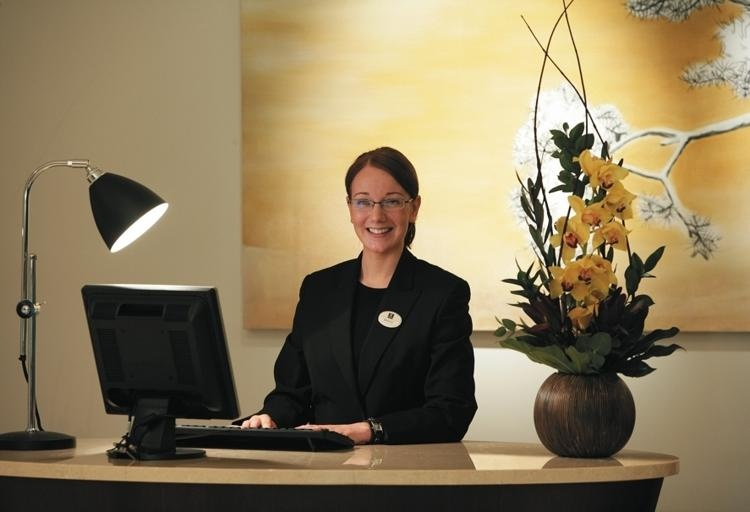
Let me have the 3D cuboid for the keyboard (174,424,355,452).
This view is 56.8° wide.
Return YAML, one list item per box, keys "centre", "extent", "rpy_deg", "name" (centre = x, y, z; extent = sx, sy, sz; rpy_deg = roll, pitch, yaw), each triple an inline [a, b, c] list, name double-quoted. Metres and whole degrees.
- centre: [-0.407, 0.649, 2.465]
  extent: [0.645, 0.110, 0.127]
  rpy_deg: [0, 3, 2]
  name: "keyboard"

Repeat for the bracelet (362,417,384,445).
- centre: [-0.001, 0.676, 2.672]
  extent: [0.074, 0.085, 0.052]
  rpy_deg: [1, 3, 8]
  name: "bracelet"

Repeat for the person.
- centre: [-0.034, 0.132, 2.951]
  extent: [0.892, 1.228, 0.688]
  rpy_deg: [0, 3, -10]
  name: "person"

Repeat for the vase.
- centre: [0.764, 0.556, 2.546]
  extent: [0.361, 0.331, 0.365]
  rpy_deg: [-1, -6, -14]
  name: "vase"

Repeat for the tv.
- centre: [-0.808, 0.417, 2.560]
  extent: [0.542, 0.621, 0.347]
  rpy_deg: [-1, -3, 12]
  name: "tv"
